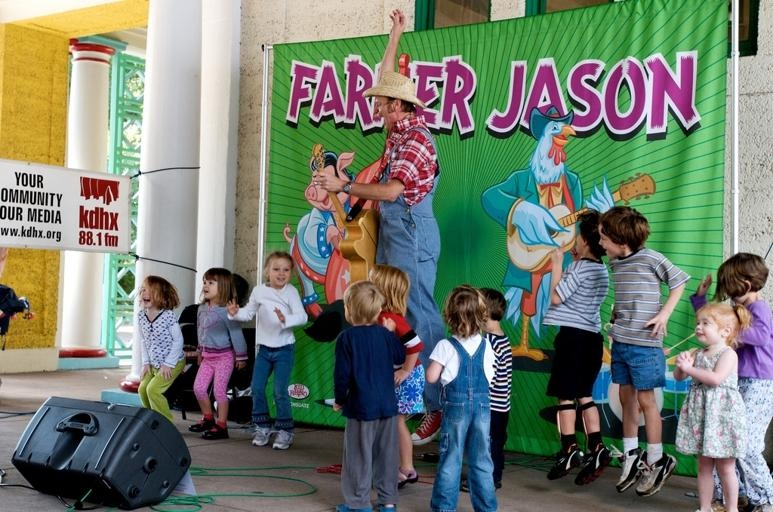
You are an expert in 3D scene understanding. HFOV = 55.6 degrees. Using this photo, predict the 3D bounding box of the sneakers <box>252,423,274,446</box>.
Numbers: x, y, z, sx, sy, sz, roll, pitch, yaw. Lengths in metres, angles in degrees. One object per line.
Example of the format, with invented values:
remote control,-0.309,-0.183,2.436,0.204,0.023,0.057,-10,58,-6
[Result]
sneakers,-0.989,1.446,5.920,0.190,0.162,0.131,5,-5,-43

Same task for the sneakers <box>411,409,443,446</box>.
sneakers,0.312,1.317,5.628,0.125,0.183,0.390,3,7,28

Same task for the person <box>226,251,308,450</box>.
person,-0.945,0.748,6.042,0.594,1.571,0.428,1,-3,14

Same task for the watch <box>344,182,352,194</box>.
watch,-0.265,-0.465,4.982,0.047,0.080,0.070,27,4,7

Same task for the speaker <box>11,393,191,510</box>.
speaker,-1.744,1.173,4.402,0.706,0.572,0.713,3,3,29

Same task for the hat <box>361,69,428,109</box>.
hat,0.066,-1.166,5.114,0.296,0.135,0.278,18,7,-9

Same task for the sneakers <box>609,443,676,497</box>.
sneakers,1.715,1.446,4.866,0.128,0.385,0.270,23,0,-26

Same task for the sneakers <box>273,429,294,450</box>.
sneakers,-0.824,1.467,5.831,0.080,0.103,0.209,-1,-9,6

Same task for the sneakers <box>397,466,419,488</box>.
sneakers,0.138,1.515,4.922,0.070,0.096,0.191,-10,-17,42

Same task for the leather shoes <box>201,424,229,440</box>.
leather shoes,-1.414,1.463,6.074,0.191,0.131,0.105,6,-8,-17

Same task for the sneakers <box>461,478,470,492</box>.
sneakers,0.531,1.568,4.985,0.055,0.077,0.177,0,-14,-4
